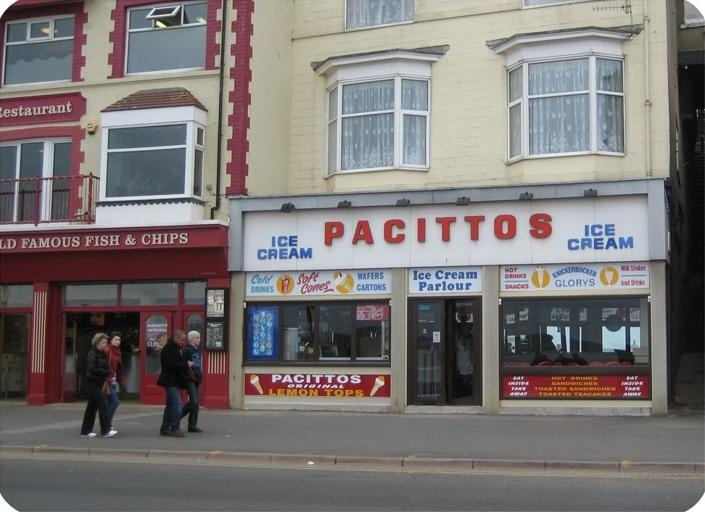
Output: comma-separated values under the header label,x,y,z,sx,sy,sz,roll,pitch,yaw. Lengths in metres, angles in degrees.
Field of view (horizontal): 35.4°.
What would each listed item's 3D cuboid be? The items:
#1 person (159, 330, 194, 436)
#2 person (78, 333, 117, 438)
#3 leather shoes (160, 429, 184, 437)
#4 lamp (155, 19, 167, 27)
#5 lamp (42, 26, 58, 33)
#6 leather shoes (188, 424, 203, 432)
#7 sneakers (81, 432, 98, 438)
label,x,y,z,sx,sy,sz,roll,pitch,yaw
person,-4.201,2.986,26.006,0.596,2.400,0.648,2,7,20
person,-6.015,3.054,25.986,0.802,2.398,0.777,-2,6,-15
leather shoes,-4.221,4.127,25.911,0.575,0.235,0.195,-3,-9,7
lamp,-5.600,-6.659,32.125,0.317,0.243,0.105,0,6,1
lamp,-9.107,-6.641,32.980,0.374,0.187,0.055,2,7,18
leather shoes,-3.782,4.112,26.348,0.271,0.111,0.143,-1,-1,-6
sneakers,-6.188,4.197,25.948,0.282,0.125,0.134,0,0,-23
